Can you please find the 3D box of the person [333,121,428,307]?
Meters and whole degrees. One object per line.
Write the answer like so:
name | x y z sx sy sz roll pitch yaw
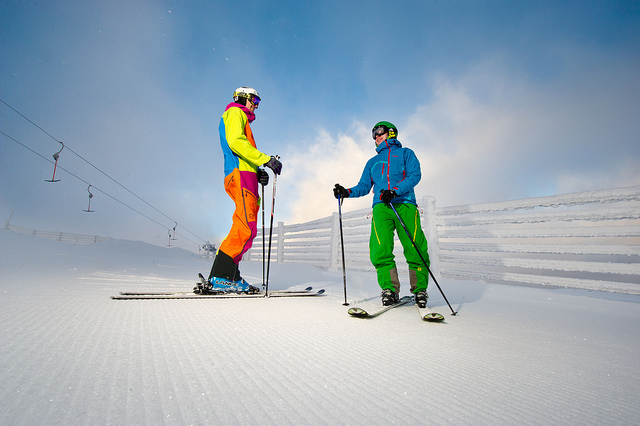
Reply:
person | 0.710 -0.089 3.339 0.594 1.792 0.999 3 -2 -36

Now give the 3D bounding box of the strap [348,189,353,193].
strap | 0.328 -0.229 3.592 0.018 0.064 0.068 -12 -9 40

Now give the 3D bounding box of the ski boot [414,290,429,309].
ski boot | 0.906 0.761 2.929 0.060 0.077 0.180 -2 -33 5

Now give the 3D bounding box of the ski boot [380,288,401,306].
ski boot | 0.626 0.755 2.982 0.075 0.095 0.213 -8 -29 10

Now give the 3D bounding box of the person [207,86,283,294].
person | -0.773 -0.294 3.361 0.579 2.153 0.654 2 -2 -9

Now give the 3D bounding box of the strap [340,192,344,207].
strap | 0.205 -0.134 3.161 0.019 0.179 0.019 13 -16 -41

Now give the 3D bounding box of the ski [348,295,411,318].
ski | 0.522 0.780 2.808 0.158 0.077 0.859 1 -2 39

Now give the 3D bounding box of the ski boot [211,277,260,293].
ski boot | -0.848 0.709 3.239 0.512 0.204 0.162 3 -10 -21

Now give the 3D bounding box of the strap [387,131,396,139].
strap | 0.780 -0.831 3.627 0.084 0.084 0.022 -5 1 9
